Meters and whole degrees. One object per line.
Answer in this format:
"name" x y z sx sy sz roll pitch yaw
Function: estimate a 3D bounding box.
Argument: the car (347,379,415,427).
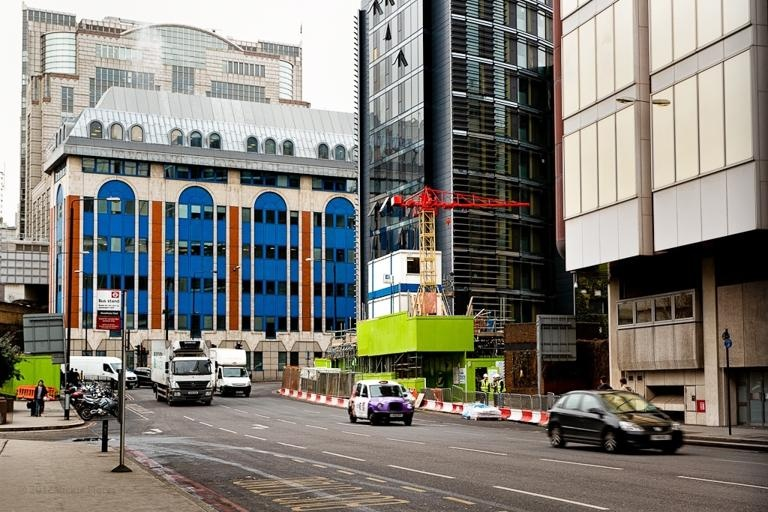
"car" -0.177 8.362 66.039 2.129 2.248 5.109 1 -4 -12

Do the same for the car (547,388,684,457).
"car" 10.275 7.394 51.558 5.594 2.870 1.797 -10 -15 37

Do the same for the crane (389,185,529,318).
"crane" 5.815 -1.839 97.158 12.014 14.066 6.852 3 -2 -4

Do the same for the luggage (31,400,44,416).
"luggage" -20.069 8.850 66.586 0.717 0.972 1.157 3 -13 -18
